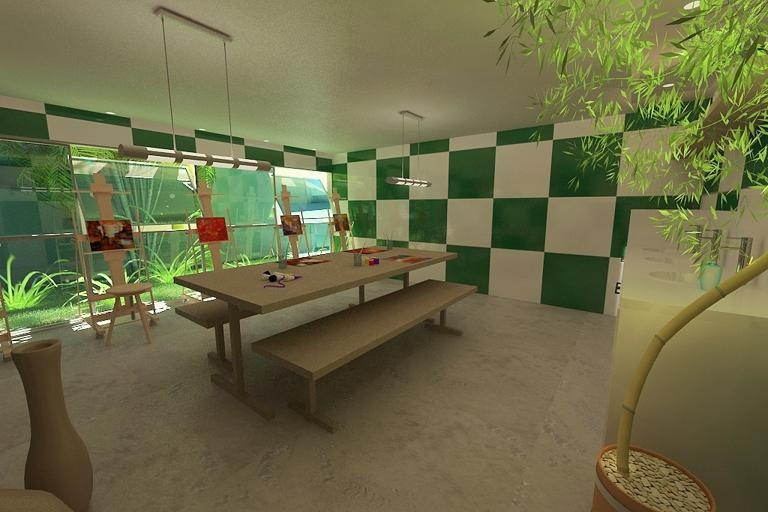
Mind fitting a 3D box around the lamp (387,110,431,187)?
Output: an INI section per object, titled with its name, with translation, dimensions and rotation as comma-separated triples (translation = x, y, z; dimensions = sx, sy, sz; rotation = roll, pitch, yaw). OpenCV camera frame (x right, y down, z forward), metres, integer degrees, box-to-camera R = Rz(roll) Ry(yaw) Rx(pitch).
[lamp]
translation = 0.371, -1.448, 6.244
dimensions = 0.217, 0.984, 1.087
rotation = 6, 8, 30
